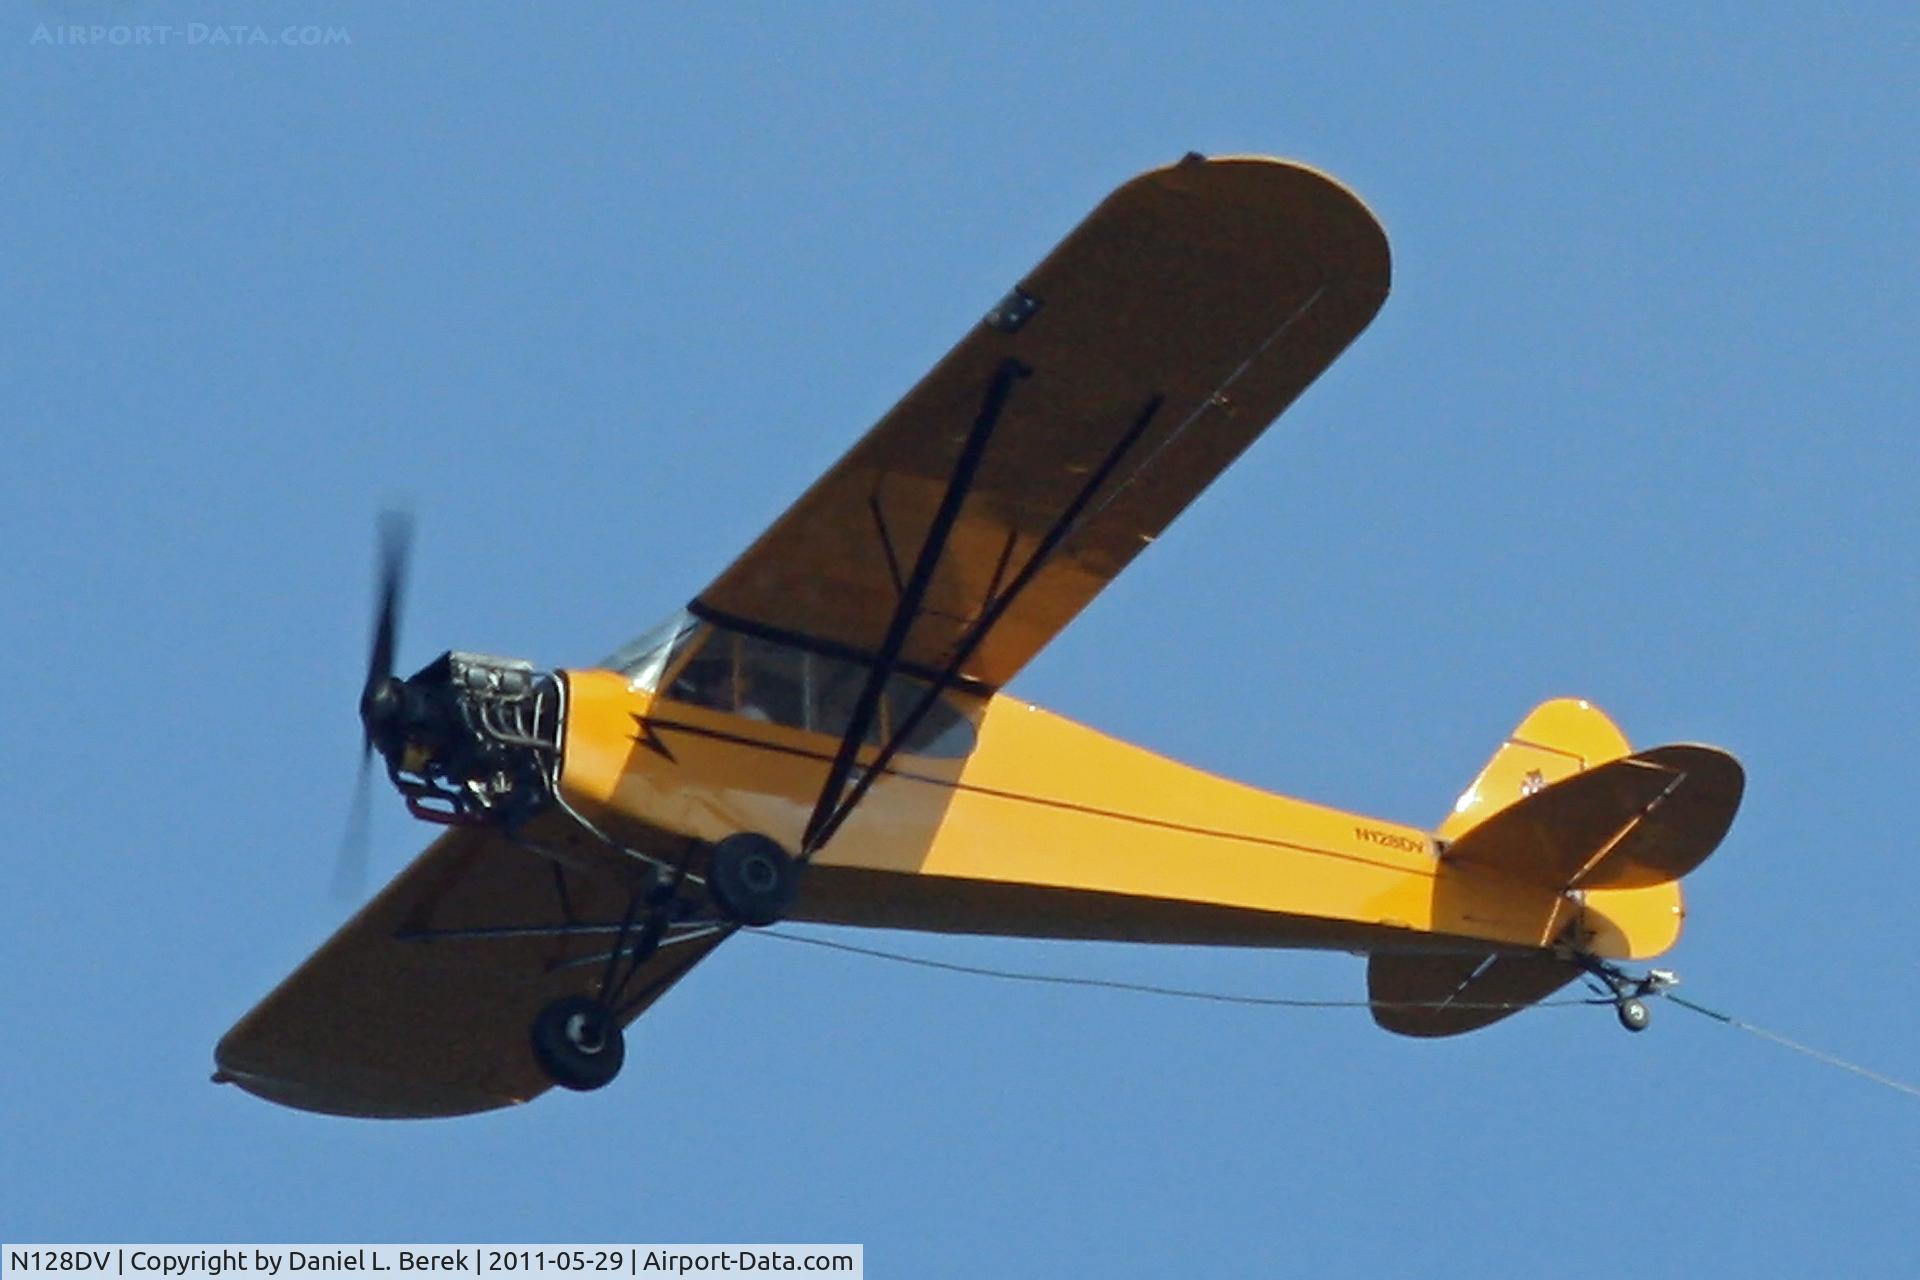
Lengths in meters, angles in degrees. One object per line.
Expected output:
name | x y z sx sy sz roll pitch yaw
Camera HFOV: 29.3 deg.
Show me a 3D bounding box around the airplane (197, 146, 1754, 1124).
airplane | 0.569 0.467 25.962 6.866 2.501 9.542 12 -43 -22
